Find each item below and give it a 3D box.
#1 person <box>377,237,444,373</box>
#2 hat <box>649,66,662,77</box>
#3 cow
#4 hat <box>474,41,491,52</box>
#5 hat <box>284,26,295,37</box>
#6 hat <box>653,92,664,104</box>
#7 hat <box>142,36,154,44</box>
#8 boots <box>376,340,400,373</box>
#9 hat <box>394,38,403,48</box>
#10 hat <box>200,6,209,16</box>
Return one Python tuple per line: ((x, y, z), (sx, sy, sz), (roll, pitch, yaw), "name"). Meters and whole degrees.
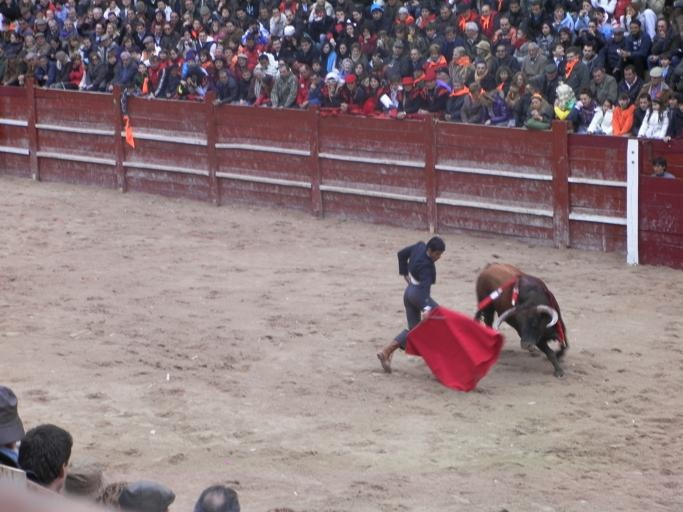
((0.980, 0.635, 17.456), (0.884, 1.868, 0.757), (-1, 12, 4), "person")
((5.153, -3.006, 20.854), (0.207, 0.162, 0.273), (-2, 12, -1), "hat")
((2.458, 0.750, 17.651), (0.922, 1.049, 1.742), (-22, 28, -11), "cow")
((2.553, -3.765, 22.801), (0.238, 0.198, 0.342), (-1, 12, 4), "hat")
((-0.993, -4.429, 25.057), (0.169, 0.189, 0.227), (-5, 5, -30), "hat")
((5.124, -2.561, 20.675), (0.167, 0.128, 0.347), (1, 12, 13), "hat")
((-4.039, -4.534, 26.862), (0.202, 0.087, 0.231), (-10, 15, -25), "hat")
((0.610, 1.362, 17.383), (0.187, 0.581, 0.229), (18, 62, 29), "boots")
((1.054, -3.899, 23.418), (0.169, 0.133, 0.160), (-12, 15, -39), "hat")
((-2.871, -5.216, 27.186), (0.191, 0.157, 0.200), (23, 48, 19), "hat")
